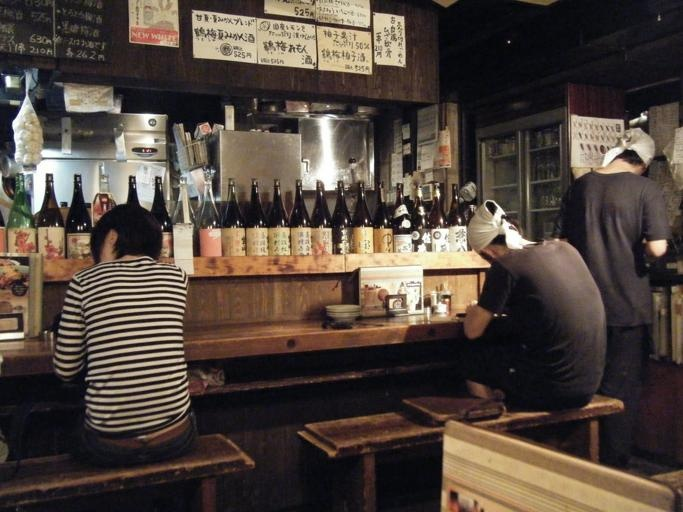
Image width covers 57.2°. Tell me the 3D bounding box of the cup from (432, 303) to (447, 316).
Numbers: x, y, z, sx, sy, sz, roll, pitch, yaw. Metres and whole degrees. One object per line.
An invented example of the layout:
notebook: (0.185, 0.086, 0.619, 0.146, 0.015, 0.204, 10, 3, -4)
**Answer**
cup: (0.567, 0.308, 3.579, 0.061, 0.060, 0.062, 1, 3, 0)

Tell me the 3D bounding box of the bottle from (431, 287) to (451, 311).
bottle: (0.585, 0.258, 3.659, 0.111, 0.116, 0.117, 3, -8, -19)

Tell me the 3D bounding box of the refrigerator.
refrigerator: (1.754, -0.831, 5.161, 0.489, 1.528, 1.498, 0, -2, -27)
